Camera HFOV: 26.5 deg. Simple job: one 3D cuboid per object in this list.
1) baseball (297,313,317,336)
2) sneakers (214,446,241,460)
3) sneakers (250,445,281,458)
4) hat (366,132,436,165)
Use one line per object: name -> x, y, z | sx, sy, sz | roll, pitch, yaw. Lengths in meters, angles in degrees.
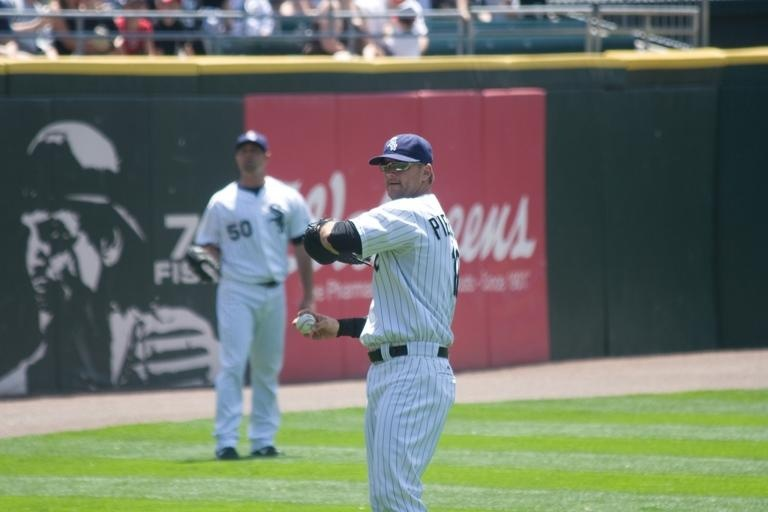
baseball -> -0.660, 0.587, 13.705 | 0.177, 0.176, 0.101 | -9, -1, 8
sneakers -> -1.476, 1.850, 15.300 | 0.181, 0.061, 0.104 | 6, 4, 33
sneakers -> -1.128, 1.852, 15.452 | 0.300, 0.118, 0.096 | 2, 0, -3
hat -> 0.159, -0.880, 13.753 | 0.443, 0.264, 0.567 | 15, 13, 42
